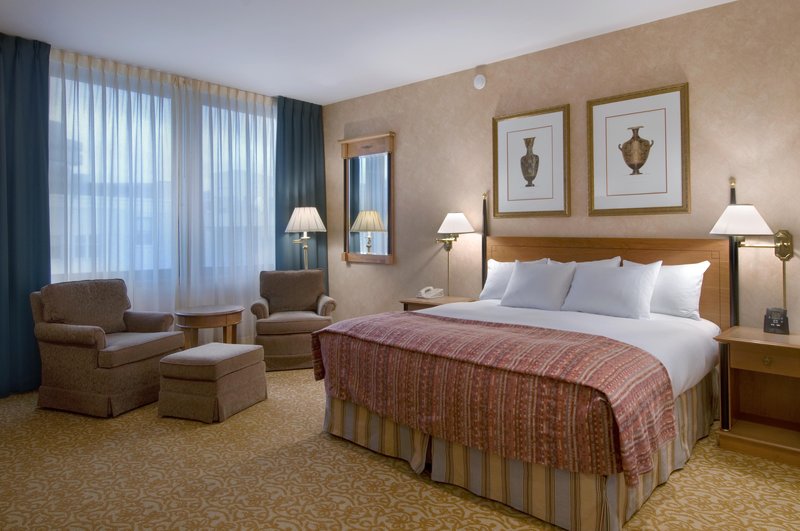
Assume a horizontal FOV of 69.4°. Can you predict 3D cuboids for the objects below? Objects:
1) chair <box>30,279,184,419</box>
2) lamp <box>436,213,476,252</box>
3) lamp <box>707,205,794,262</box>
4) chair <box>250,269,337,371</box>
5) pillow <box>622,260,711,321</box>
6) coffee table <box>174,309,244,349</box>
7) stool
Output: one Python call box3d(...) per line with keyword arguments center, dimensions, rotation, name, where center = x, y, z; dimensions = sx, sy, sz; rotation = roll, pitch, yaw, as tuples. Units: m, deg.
box3d(center=(-3.010, 0.774, 5.984), dimensions=(1.341, 1.245, 1.165), rotation=(1, 4, 0), name="chair")
box3d(center=(0.652, -0.363, 6.845), dimensions=(0.441, 0.532, 0.489), rotation=(-2, -2, 0), name="lamp")
box3d(center=(3.198, -0.279, 5.425), dimensions=(0.730, 0.559, 0.453), rotation=(2, -3, -21), name="lamp")
box3d(center=(-1.351, 0.626, 7.268), dimensions=(1.122, 1.199, 1.172), rotation=(-1, 1, 3), name="chair")
box3d(center=(2.654, 0.243, 5.525), dimensions=(0.241, 0.489, 0.639), rotation=(-5, 6, -18), name="pillow")
box3d(center=(-2.160, 0.640, 6.634), dimensions=(0.542, 0.548, 0.503), rotation=(-1, -2, -23), name="coffee table")
box3d(center=(-1.860, 1.123, 5.812), dimensions=(0.956, 0.522, 1.000), rotation=(2, 7, 44), name="stool")
